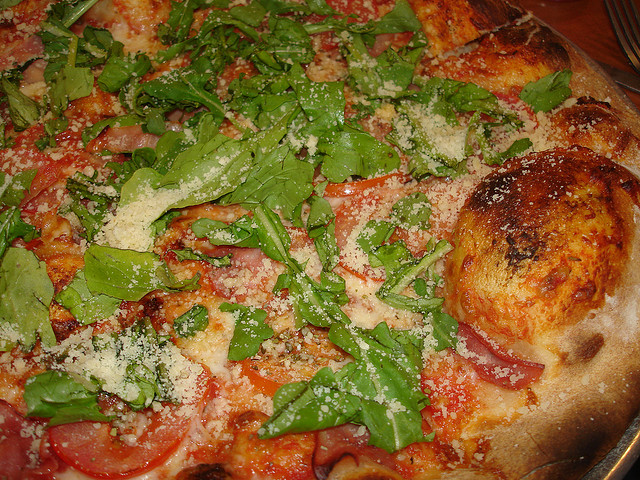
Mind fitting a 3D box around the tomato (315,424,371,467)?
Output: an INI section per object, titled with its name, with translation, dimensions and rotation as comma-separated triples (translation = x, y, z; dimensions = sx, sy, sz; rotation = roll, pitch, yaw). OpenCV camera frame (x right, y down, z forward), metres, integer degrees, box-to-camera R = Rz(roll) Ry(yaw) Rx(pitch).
[tomato]
translation = 0.104, 0.962, 3.237
dimensions = 0.240, 0.074, 0.182
rotation = -7, 66, 8
